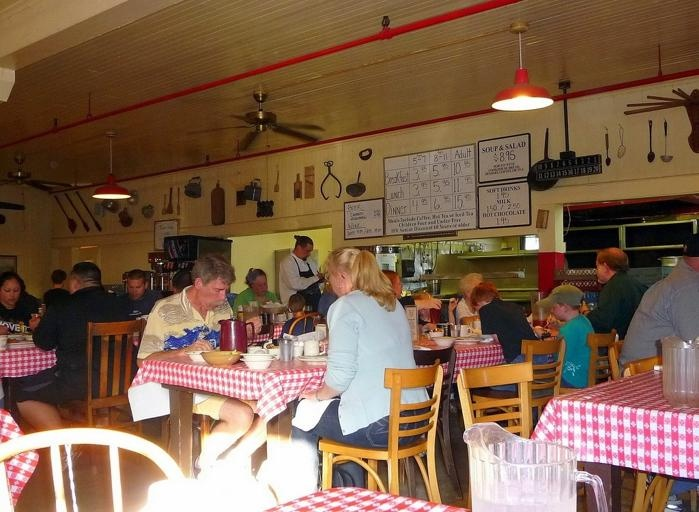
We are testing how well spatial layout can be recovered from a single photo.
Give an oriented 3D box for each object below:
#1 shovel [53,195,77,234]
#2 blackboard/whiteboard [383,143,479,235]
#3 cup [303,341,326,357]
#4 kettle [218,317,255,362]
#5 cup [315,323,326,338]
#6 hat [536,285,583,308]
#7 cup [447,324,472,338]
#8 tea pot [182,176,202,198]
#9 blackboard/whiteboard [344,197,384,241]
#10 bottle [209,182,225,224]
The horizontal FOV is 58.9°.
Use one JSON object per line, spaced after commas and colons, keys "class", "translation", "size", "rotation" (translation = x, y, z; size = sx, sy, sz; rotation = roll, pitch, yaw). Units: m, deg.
{"class": "shovel", "translation": [-5.406, -0.791, 11.779], "size": [0.079, 0.179, 0.864], "rotation": [-1, 43, -50]}
{"class": "blackboard/whiteboard", "translation": [1.088, -0.840, 7.749], "size": [1.178, 0.972, 0.092], "rotation": [-3, -6, 34]}
{"class": "cup", "translation": [-0.195, 0.525, 3.546], "size": [0.132, 0.080, 0.078], "rotation": [2, -4, -7]}
{"class": "kettle", "translation": [-0.611, 0.449, 3.481], "size": [0.209, 0.189, 0.155], "rotation": [2, -7, -1]}
{"class": "cup", "translation": [-0.171, 0.466, 3.896], "size": [0.069, 0.109, 0.069], "rotation": [1, 6, 0]}
{"class": "hat", "translation": [1.528, 0.285, 4.465], "size": [0.287, 0.156, 0.186], "rotation": [3, 3, 35]}
{"class": "cup", "translation": [0.953, 0.621, 5.307], "size": [0.146, 0.090, 0.148], "rotation": [0, -3, 0]}
{"class": "tea pot", "translation": [-2.505, -1.100, 9.909], "size": [0.268, 0.355, 0.412], "rotation": [-1, 1, -15]}
{"class": "blackboard/whiteboard", "translation": [0.225, -0.498, 8.280], "size": [0.572, 0.498, 0.075], "rotation": [-2, -6, 36]}
{"class": "bottle", "translation": [-2.032, -0.765, 9.635], "size": [0.233, 0.591, 0.099], "rotation": [0, 1, 25]}
